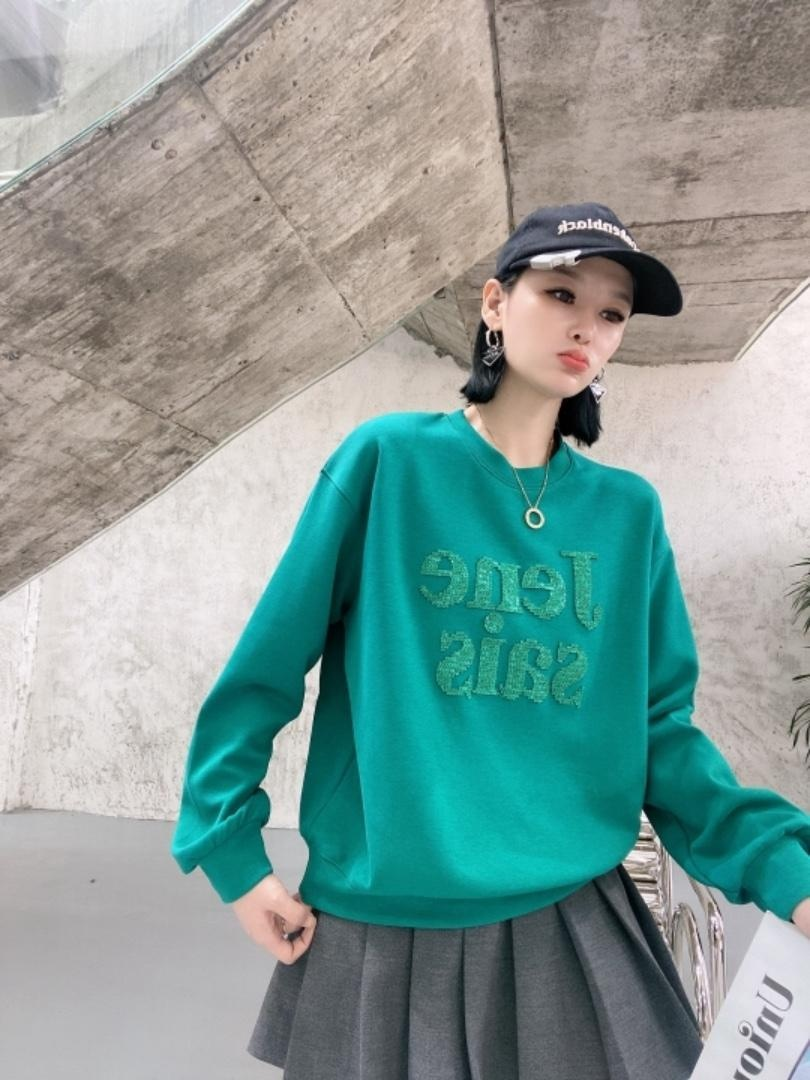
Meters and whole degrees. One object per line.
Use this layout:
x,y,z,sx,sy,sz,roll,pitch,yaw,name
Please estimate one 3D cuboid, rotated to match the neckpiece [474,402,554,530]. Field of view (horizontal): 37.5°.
0.163,-0.102,1.797,0.109,0.156,0.039,-6,-13,-26,neckpiece
